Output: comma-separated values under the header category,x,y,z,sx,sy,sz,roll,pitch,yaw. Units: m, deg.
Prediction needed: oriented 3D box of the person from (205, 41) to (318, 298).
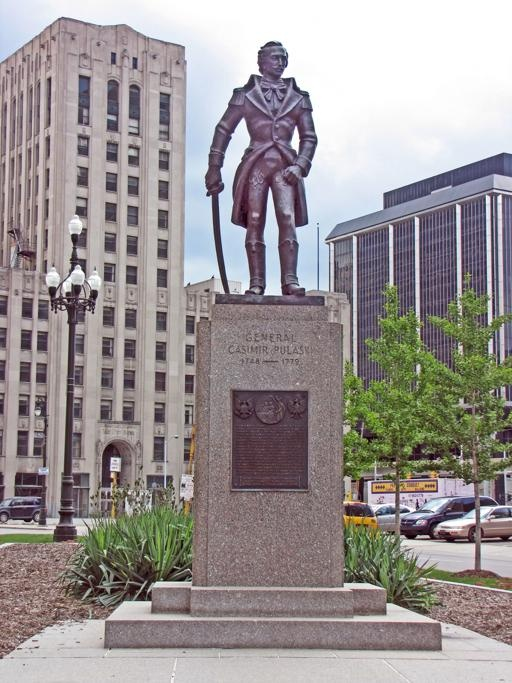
category,x,y,z,sx,sy,sz,roll,pitch,yaw
person,0.096,-1.853,8.987,1.240,2.814,0.585,-2,-10,4

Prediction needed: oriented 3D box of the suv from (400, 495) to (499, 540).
category,x,y,z,sx,sy,sz,roll,pitch,yaw
suv,9.063,9.033,39.026,5.303,2.117,2.400,6,-14,-29
